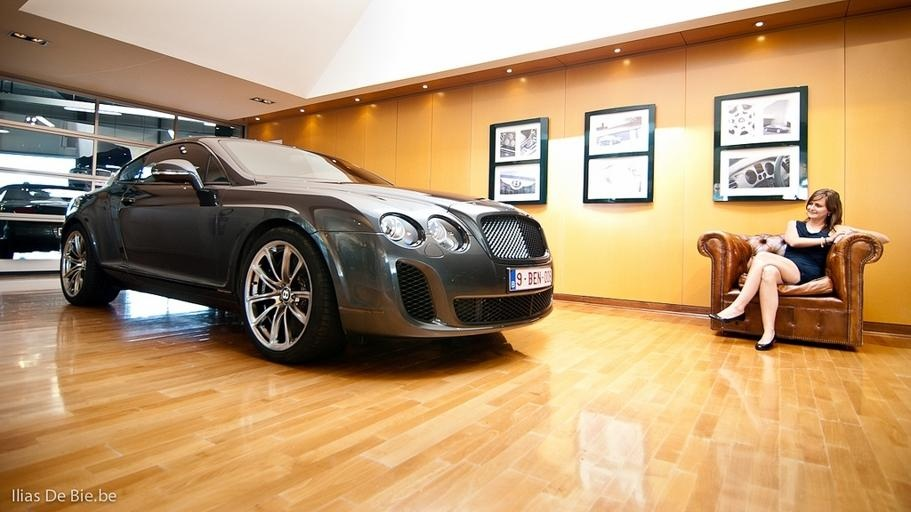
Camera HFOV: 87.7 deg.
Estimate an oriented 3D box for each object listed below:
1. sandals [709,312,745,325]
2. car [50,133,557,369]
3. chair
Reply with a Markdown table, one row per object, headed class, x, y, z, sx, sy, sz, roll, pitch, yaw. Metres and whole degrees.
| class | x | y | z | sx | sy | sz | roll | pitch | yaw |
| --- | --- | --- | --- | --- | --- | --- | --- | --- | --- |
| sandals | 2.702 | 0.629 | 4.733 | 0.345 | 0.118 | 0.116 | 7 | 4 | 3 |
| car | -1.584 | -0.067 | 4.197 | 3.799 | 1.058 | 1.928 | 1 | 0 | 28 |
| chair | 3.395 | 0.258 | 4.976 | 1.447 | 0.919 | 0.840 | 2 | 4 | 33 |
